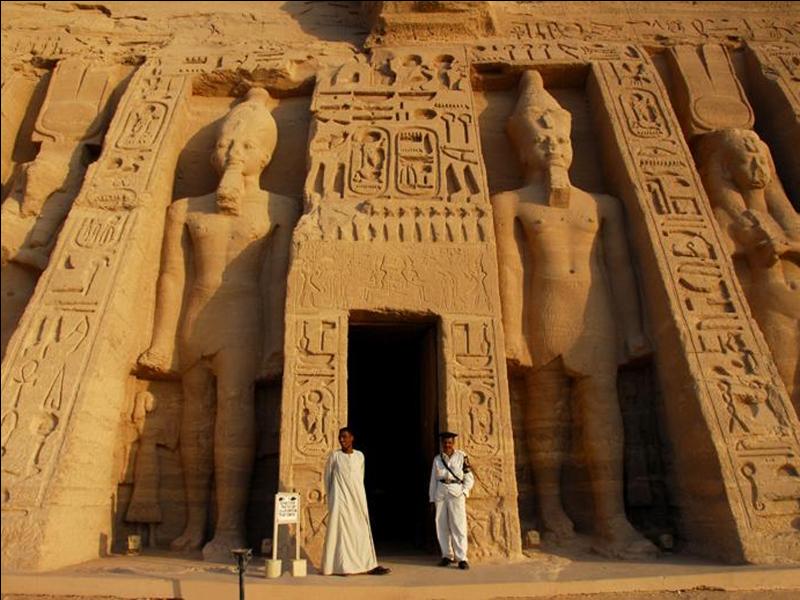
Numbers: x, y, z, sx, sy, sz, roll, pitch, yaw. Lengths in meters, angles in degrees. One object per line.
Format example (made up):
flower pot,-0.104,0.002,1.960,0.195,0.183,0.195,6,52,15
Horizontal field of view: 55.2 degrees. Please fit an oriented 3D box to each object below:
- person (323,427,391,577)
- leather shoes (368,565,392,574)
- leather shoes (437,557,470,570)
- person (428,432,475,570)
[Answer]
person,-0.395,1.698,6.542,0.508,1.191,0.297,2,-10,-5
leather shoes,-0.176,2.254,6.418,0.205,0.075,0.061,7,-10,-2
leather shoes,0.451,2.249,6.548,0.183,0.118,0.061,-16,27,18
person,0.437,1.726,6.665,0.345,1.127,0.198,-4,-11,24
